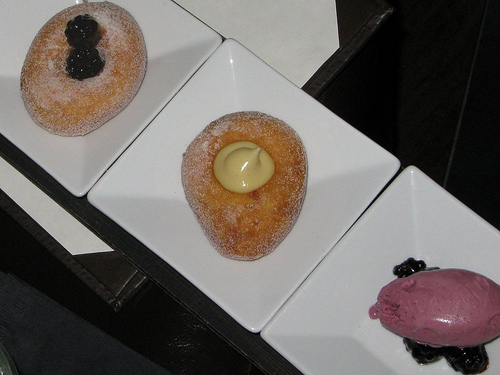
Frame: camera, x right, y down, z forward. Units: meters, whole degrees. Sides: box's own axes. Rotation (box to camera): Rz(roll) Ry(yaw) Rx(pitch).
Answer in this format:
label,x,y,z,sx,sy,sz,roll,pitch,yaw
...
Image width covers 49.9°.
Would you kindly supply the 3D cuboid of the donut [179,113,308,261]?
label,x,y,z,sx,sy,sz,roll,pitch,yaw
donut,-0.009,-0.022,0.981,0.244,0.281,0.132,-16,-33,-5
